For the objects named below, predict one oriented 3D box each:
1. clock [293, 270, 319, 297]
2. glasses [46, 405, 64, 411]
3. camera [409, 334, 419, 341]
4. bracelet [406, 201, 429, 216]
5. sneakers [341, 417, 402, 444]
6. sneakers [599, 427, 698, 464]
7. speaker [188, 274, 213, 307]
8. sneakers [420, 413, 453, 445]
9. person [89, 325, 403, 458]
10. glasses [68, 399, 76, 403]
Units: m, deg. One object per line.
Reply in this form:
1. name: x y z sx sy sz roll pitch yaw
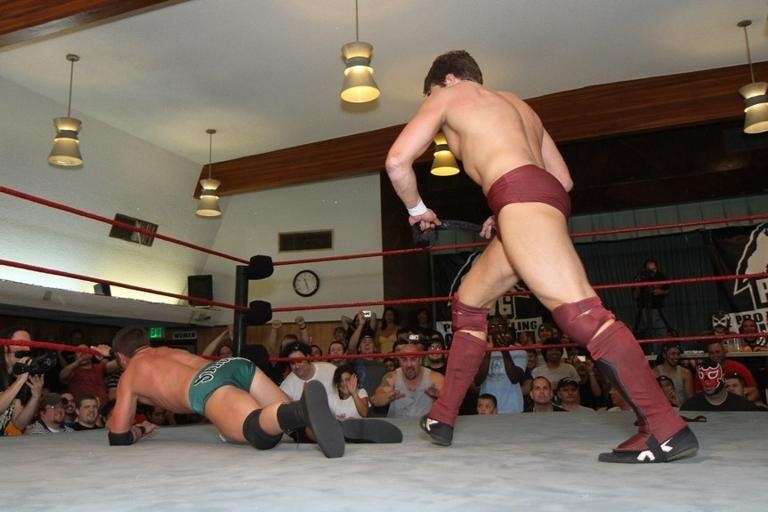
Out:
1. clock: -1.266 0.451 8.372 0.441 0.387 0.055 -6 -11 9
2. glasses: -2.383 1.087 3.672 0.078 0.020 0.073 -7 -9 30
3. camera: 0.222 0.599 3.781 0.028 0.036 0.075 3 -9 -15
4. bracelet: 0.143 -0.201 2.259 0.071 0.058 0.079 -16 3 -41
5. sneakers: -0.012 0.718 2.189 0.335 0.096 0.122 9 -11 -13
6. sneakers: 0.895 0.631 1.774 0.368 0.143 0.118 -1 -13 14
7. speaker: -3.271 0.512 9.013 0.482 0.449 0.359 1 -11 -10
8. sneakers: 0.214 0.715 2.150 0.076 0.071 0.180 0 6 -28
9. person: -0.703 0.583 2.272 1.286 0.426 0.574 -1 4 38
10. glasses: -2.669 1.229 4.341 0.044 0.019 0.055 0 -2 -8
